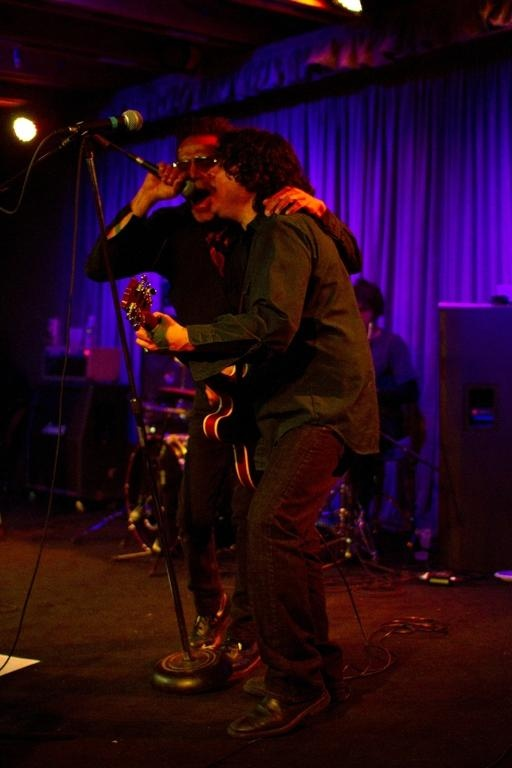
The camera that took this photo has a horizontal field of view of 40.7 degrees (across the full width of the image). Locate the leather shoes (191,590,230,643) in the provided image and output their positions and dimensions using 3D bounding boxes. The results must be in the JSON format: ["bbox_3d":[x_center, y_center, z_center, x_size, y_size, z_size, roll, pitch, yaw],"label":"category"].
[{"bbox_3d":[-0.127,0.722,2.177,0.070,0.185,0.087,-8,-31,42],"label":"leather shoes"}]

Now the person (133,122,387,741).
[{"bbox_3d":[0.040,0.045,1.630,0.400,1.471,0.535,-4,-7,32],"label":"person"}]

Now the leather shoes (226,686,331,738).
[{"bbox_3d":[0.060,0.704,1.557,0.231,0.065,0.088,-10,-7,-28],"label":"leather shoes"}]

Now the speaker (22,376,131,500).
[{"bbox_3d":[-1.363,0.427,5.348,0.973,1.090,0.571,-4,-8,40],"label":"speaker"}]
